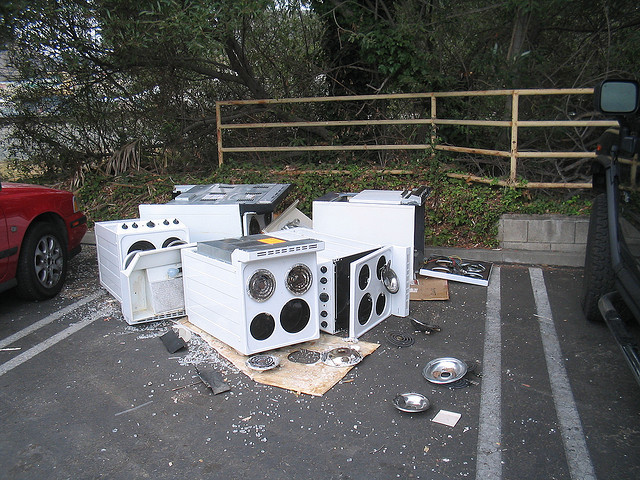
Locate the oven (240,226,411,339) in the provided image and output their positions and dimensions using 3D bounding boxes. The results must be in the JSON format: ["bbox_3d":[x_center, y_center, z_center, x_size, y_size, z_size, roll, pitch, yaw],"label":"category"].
[{"bbox_3d":[0.082,0.516,4.667,1.632,0.800,1.090,6,10,42],"label":"oven"}]

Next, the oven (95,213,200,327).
[{"bbox_3d":[-1.956,0.141,4.894,1.234,1.323,1.145,-5,22,-38],"label":"oven"}]

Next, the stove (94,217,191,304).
[{"bbox_3d":[-2.182,0.222,5.013,0.811,0.982,1.316,-13,18,-40],"label":"stove"}]
